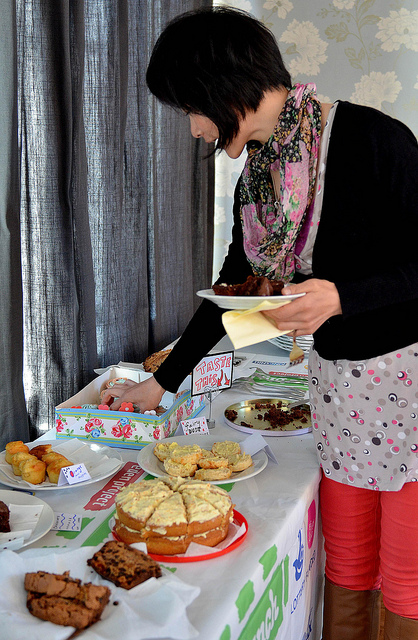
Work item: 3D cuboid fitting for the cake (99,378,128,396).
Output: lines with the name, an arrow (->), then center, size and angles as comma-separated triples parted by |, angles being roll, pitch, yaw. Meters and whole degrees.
cake -> -0.249, 0.169, 1.231 | 0.048, 0.028, 0.058 | 0, -4, 2

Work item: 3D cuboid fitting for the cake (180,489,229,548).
cake -> -0.005, 0.278, 0.676 | 0.067, 0.056, 0.108 | 3, 5, -7

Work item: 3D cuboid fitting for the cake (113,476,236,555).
cake -> -0.055, 0.276, 0.691 | 0.152, 0.061, 0.159 | 0, 6, -36

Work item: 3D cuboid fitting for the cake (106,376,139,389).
cake -> -0.221, 0.157, 1.194 | 0.041, 0.025, 0.058 | 1, -2, -1

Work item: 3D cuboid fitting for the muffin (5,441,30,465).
muffin -> -0.373, 0.257, 0.932 | 0.035, 0.026, 0.035 | 7, 8, 21

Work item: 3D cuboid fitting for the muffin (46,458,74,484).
muffin -> -0.267, 0.270, 0.849 | 0.037, 0.029, 0.037 | 2, -16, -3

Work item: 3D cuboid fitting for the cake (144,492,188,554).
cake -> -0.057, 0.268, 0.623 | 0.036, 0.023, 0.069 | 1, 5, 2

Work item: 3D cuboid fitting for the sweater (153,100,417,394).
sweater -> 0.165, -0.123, 0.897 | 0.141, 0.503, 0.491 | 0, 6, -37

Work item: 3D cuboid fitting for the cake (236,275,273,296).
cake -> 0.065, -0.046, 0.657 | 0.042, 0.027, 0.062 | 0, 6, -38

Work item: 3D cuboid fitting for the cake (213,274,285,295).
cake -> 0.057, -0.049, 0.694 | 0.067, 0.028, 0.139 | 1, 5, -29

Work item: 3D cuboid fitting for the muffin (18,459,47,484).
muffin -> -0.306, 0.264, 0.836 | 0.039, 0.037, 0.040 | 0, -10, 1

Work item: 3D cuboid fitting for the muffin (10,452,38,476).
muffin -> -0.334, 0.262, 0.870 | 0.042, 0.033, 0.038 | -5, -7, 13

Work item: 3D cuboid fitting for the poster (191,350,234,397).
poster -> 0.008, 0.137, 1.208 | 0.002, 0.098, 0.152 | 20, -25, -37

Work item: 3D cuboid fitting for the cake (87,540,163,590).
cake -> -0.094, 0.274, 0.543 | 0.094, 0.016, 0.069 | 8, 7, 42
